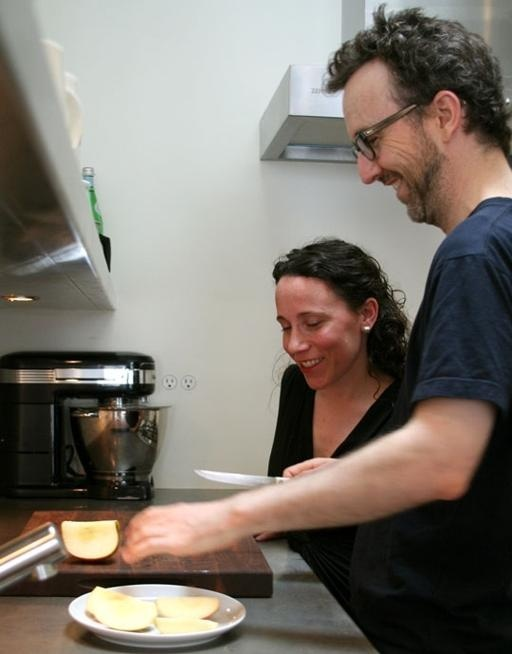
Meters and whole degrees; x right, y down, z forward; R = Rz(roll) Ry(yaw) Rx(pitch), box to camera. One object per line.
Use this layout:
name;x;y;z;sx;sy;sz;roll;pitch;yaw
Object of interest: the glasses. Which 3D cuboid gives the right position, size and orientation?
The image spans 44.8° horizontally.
glasses;0.137;-0.219;0.665;0.063;0.019;0.059;-33;-2;19
